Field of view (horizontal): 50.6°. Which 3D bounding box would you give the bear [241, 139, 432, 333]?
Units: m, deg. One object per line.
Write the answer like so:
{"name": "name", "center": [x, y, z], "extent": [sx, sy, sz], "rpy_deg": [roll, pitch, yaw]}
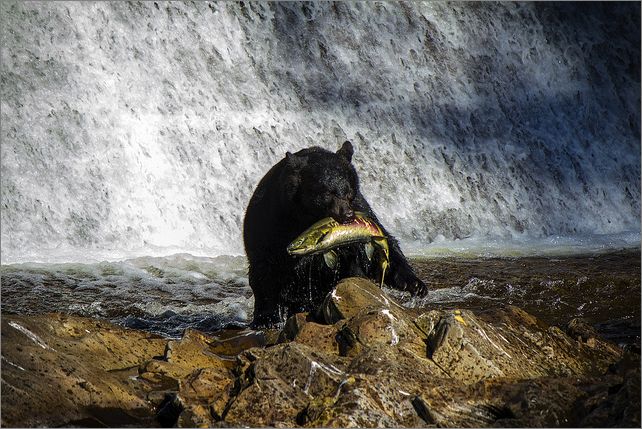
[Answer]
{"name": "bear", "center": [-0.156, 0.110, 13.034], "extent": [2.855, 3.471, 4.782], "rpy_deg": [-11, 6, -11]}
